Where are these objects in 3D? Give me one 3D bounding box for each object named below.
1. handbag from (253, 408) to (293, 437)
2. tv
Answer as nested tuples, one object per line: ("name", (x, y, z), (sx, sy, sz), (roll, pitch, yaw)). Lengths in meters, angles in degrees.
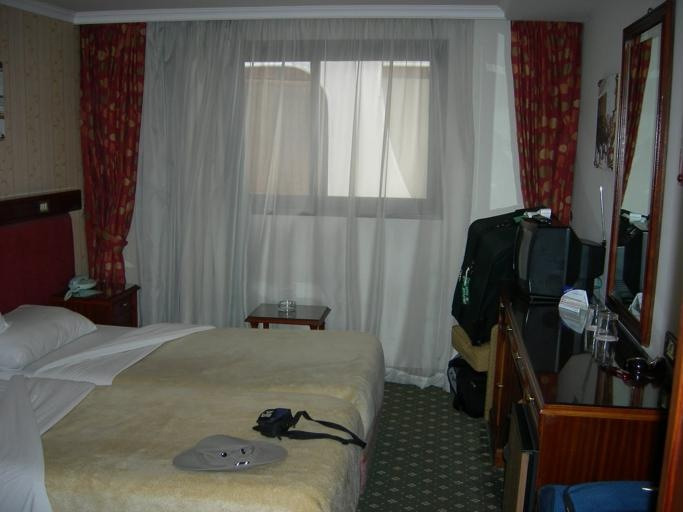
("handbag", (-0.363, 0.896, 2.932), (0.223, 0.109, 0.193), (2, 6, -14))
("tv", (1.444, 0.000, 3.596), (0.536, 0.501, 0.547), (-14, 21, -37))
